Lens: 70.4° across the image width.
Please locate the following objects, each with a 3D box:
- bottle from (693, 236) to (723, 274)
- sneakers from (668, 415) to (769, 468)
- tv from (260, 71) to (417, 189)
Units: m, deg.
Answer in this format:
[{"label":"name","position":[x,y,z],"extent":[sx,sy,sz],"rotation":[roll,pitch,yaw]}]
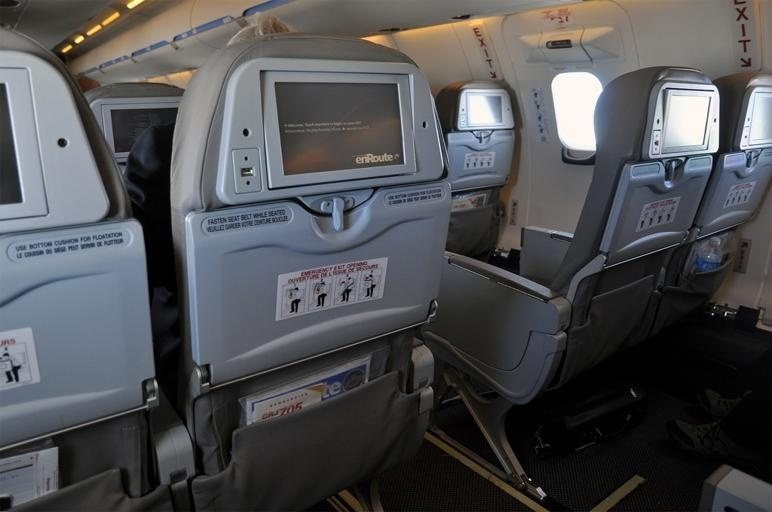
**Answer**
[{"label":"bottle","position":[2.152,-0.007,3.645],"extent":[0.164,0.253,0.166],"rotation":[-1,22,0]},{"label":"sneakers","position":[1.996,1.117,3.334],"extent":[0.528,0.214,0.179],"rotation":[17,40,32]},{"label":"tv","position":[-0.192,-0.457,1.946],"extent":[0.462,0.292,0.033],"rotation":[-10,17,-29]}]
